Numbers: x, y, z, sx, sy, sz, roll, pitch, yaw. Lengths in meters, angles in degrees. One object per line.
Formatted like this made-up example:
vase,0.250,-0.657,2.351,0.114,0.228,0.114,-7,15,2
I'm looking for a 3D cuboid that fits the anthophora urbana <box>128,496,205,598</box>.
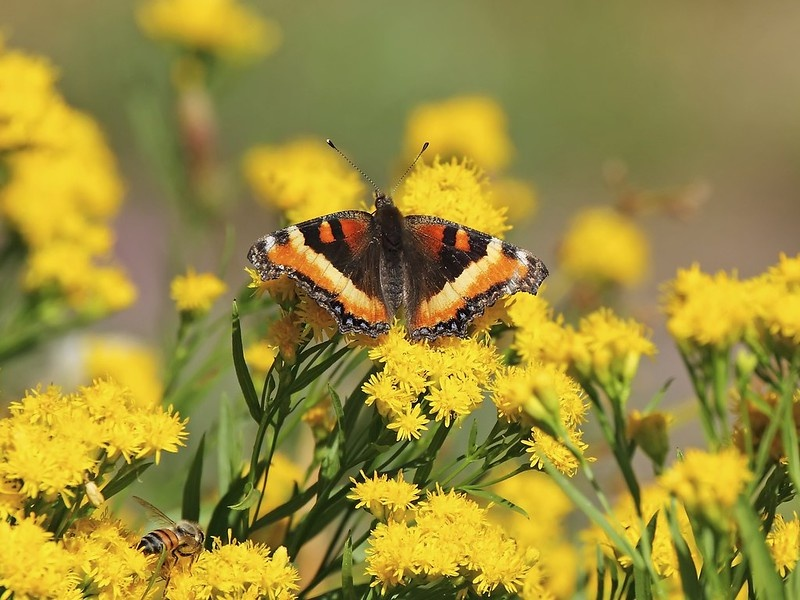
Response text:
anthophora urbana,-0.342,0.357,1.516,0.126,0.203,0.080,3,7,-26
